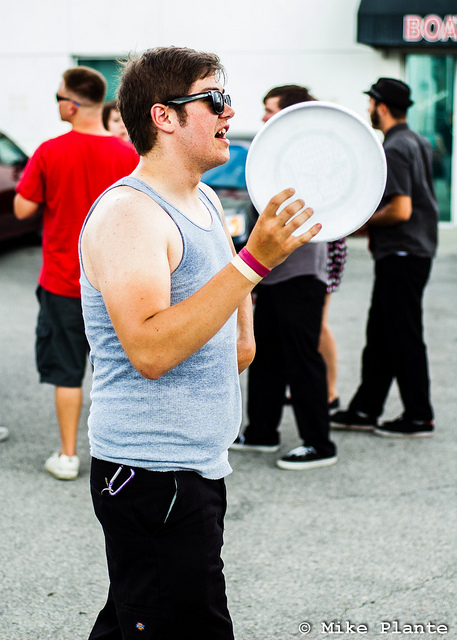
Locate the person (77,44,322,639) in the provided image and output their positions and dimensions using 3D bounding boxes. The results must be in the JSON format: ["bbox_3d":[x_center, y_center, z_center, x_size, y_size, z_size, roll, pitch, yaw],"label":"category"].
[{"bbox_3d":[-0.071,0.129,2.561,0.616,1.651,0.469,-3,12,-8],"label":"person"}]

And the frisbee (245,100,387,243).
[{"bbox_3d":[0.234,-0.398,2.625,0.372,0.362,0.226,-1,12,2],"label":"frisbee"}]

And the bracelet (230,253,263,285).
[{"bbox_3d":[0.046,-0.121,2.366,0.075,0.077,0.070,1,13,10],"label":"bracelet"}]

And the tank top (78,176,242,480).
[{"bbox_3d":[-0.153,0.037,2.532,0.427,0.804,0.372,-4,13,-11],"label":"tank top"}]

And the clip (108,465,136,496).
[{"bbox_3d":[-0.270,0.413,2.506,0.051,0.086,0.017,35,13,13],"label":"clip"}]
